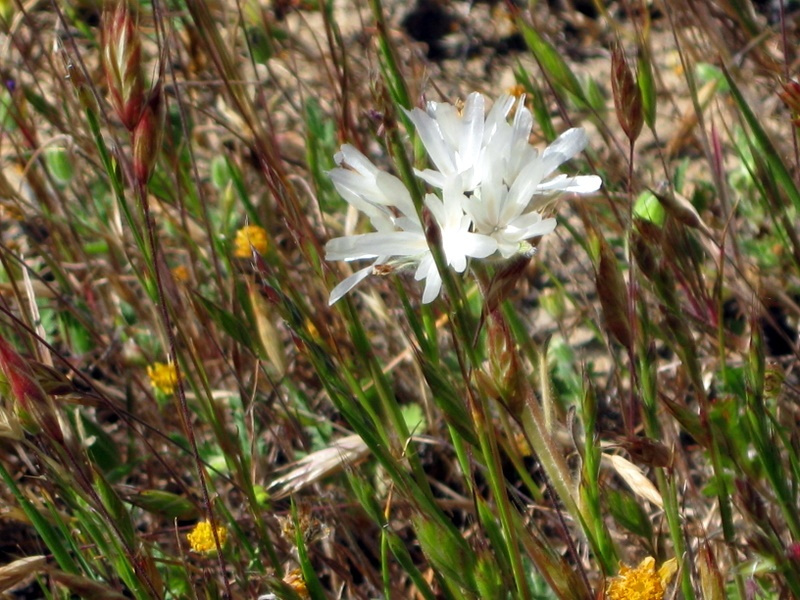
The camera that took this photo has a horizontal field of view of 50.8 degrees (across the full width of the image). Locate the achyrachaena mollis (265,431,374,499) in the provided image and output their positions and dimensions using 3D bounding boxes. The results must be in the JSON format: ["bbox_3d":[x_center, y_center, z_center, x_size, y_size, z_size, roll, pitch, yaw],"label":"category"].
[{"bbox_3d":[-0.149,0.285,1.617,0.216,0.071,0.072,-15,28,44],"label":"achyrachaena mollis"}]

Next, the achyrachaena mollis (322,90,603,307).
[{"bbox_3d":[0.073,-0.131,1.133,0.281,0.129,0.342,38,83,29],"label":"achyrachaena mollis"}]
